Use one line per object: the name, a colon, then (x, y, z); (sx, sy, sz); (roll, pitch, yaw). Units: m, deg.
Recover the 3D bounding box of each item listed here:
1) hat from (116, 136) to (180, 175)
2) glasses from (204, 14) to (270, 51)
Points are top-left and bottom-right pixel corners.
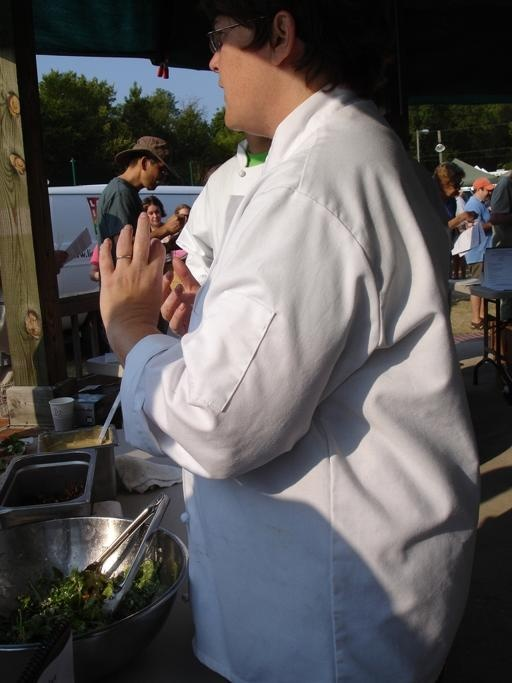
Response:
hat: (-0.896, -1.542, 4.794); (0.368, 0.326, 0.390); (-1, 14, -20)
glasses: (-0.045, -0.443, 0.843); (0.102, 0.028, 0.099); (-25, 18, 11)
